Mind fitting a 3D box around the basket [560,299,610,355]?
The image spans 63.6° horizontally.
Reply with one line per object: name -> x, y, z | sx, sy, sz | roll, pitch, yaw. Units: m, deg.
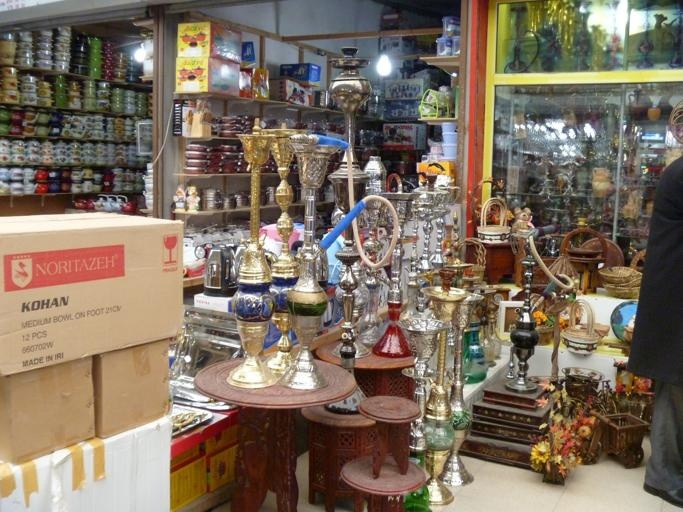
basket -> 1.943, 0.527, 4.389 | 0.316, 0.466, 0.505 | 11, 16, 26

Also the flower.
flower -> 1.342, 1.054, 3.306 | 0.290, 0.459, 0.562 | 11, 16, 27

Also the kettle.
kettle -> -0.641, 0.083, 3.331 | 0.283, 0.322, 0.533 | 1, 0, 30

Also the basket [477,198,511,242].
basket -> 1.422, -0.328, 5.195 | 0.400, 0.515, 0.352 | 2, 13, 14

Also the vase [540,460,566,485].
vase -> 1.204, 1.257, 3.149 | 0.142, 0.073, 0.128 | 0, 4, -42

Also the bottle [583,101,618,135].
bottle -> 2.512, -1.336, 5.363 | 0.312, 0.296, 0.056 | 12, 16, 30
